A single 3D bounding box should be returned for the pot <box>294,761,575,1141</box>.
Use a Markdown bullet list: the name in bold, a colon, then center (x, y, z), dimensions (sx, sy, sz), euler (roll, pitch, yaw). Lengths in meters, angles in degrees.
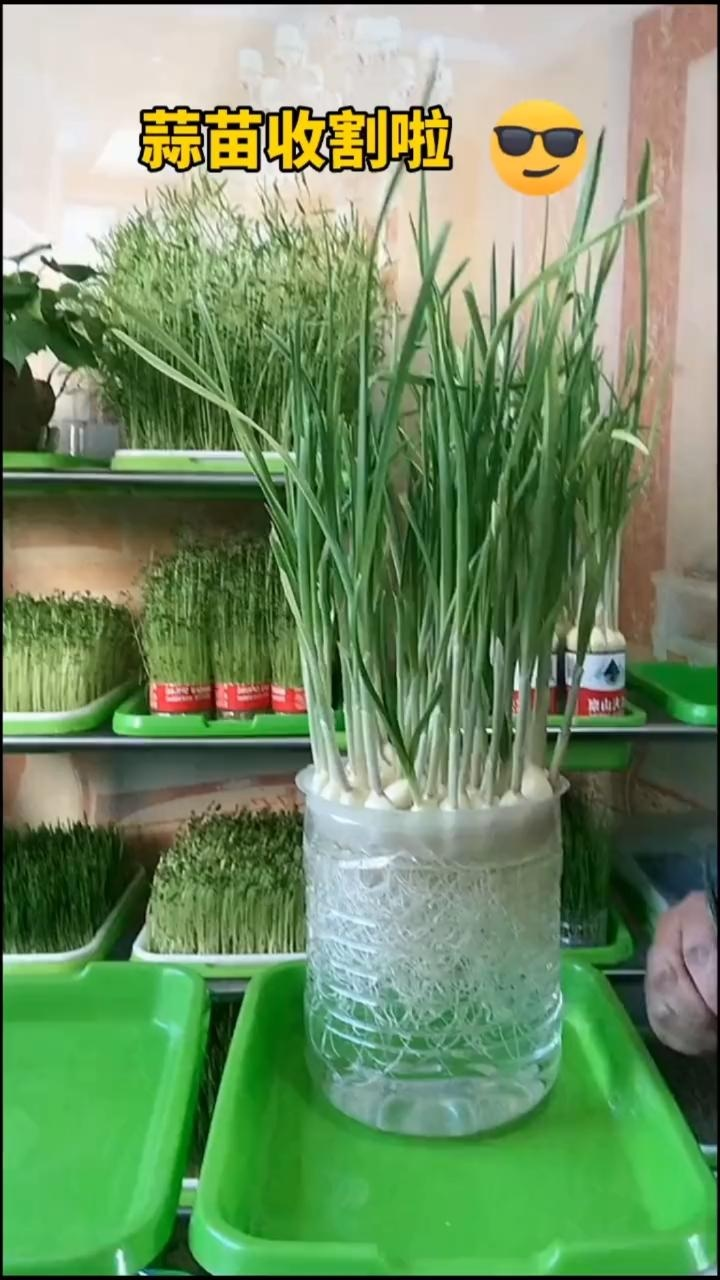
- **pot**: center (0.042, 0.123, 0.434), dimensions (0.099, 0.215, 0.140), euler (-1, 2, -7)
